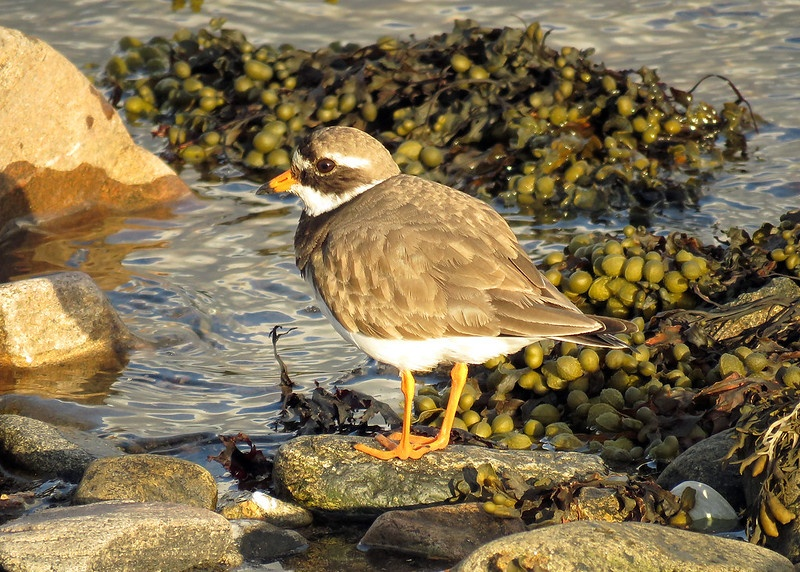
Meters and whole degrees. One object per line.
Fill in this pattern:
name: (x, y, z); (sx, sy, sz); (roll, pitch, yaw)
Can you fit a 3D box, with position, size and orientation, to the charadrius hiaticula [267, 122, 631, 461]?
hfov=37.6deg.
charadrius hiaticula: (0.087, -0.184, 9.971); (2.824, 2.312, 3.742); (-1, 9, -8)
